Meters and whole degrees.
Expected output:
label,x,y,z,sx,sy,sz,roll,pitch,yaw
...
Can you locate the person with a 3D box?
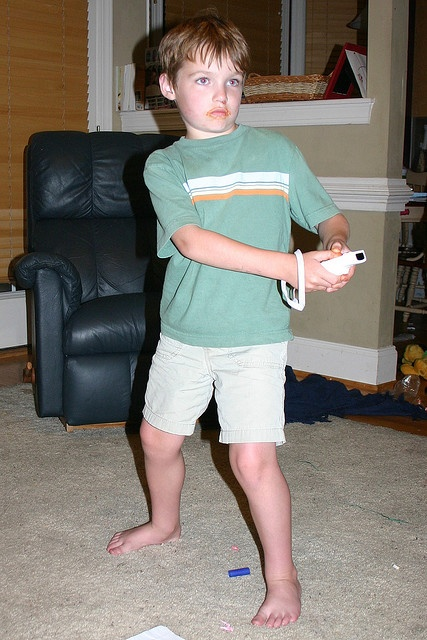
label,x,y,z,sx,sy,sz,roll,pitch,yaw
person,0.001,0.020,0.949,0.472,1.106,0.345,4,16,14
